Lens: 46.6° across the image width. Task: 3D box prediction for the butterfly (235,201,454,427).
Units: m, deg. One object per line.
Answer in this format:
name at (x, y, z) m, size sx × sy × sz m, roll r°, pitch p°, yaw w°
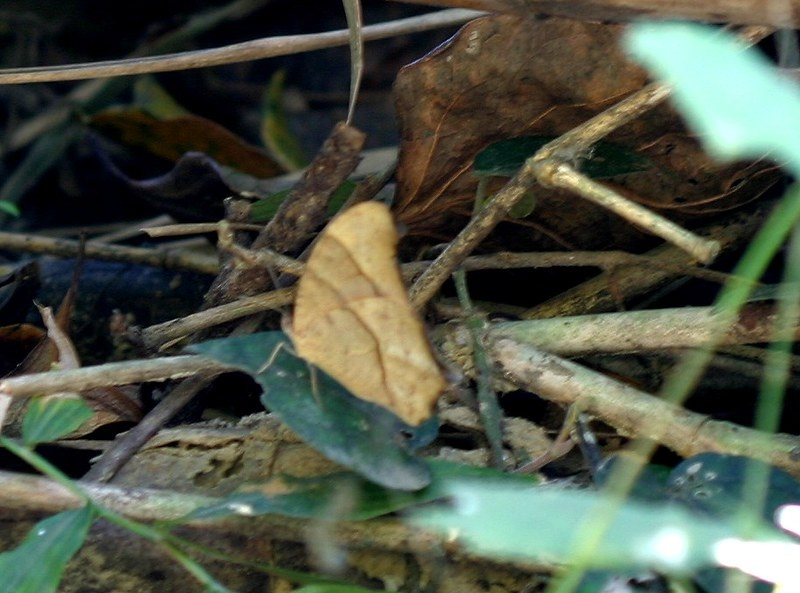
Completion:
butterfly at (-0.032, 0.017, 0.669) m, size 0.105 × 0.171 × 0.054 m, roll 0°, pitch 13°, yaw 22°
